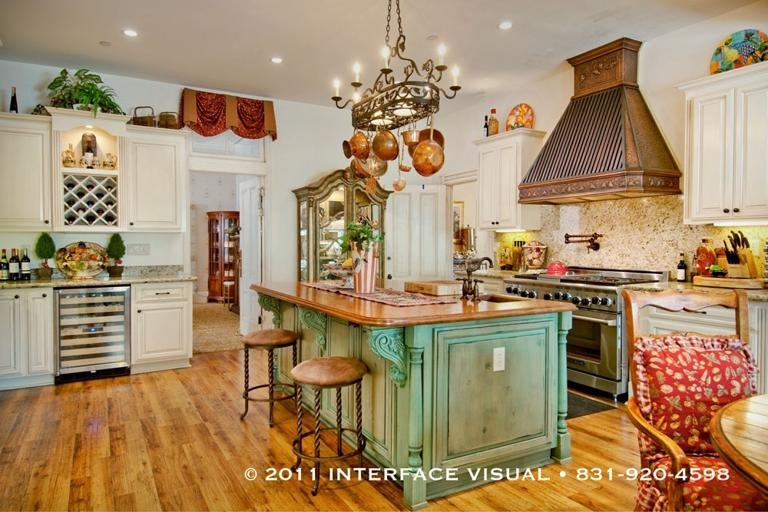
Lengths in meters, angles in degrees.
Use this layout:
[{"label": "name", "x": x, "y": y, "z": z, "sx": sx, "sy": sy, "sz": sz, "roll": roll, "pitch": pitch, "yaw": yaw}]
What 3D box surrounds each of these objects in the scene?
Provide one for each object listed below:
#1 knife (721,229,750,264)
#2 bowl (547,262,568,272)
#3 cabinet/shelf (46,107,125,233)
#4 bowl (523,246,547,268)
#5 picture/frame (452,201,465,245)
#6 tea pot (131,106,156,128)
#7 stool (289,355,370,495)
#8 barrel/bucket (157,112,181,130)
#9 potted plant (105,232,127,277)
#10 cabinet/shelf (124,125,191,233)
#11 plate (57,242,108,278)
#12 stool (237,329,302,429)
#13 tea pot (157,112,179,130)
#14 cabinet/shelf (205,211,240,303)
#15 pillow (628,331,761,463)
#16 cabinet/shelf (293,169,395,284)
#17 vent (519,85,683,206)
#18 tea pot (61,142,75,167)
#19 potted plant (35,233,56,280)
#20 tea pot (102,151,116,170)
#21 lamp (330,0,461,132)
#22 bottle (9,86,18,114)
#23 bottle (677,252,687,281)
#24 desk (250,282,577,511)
[{"label": "knife", "x": 3.568, "y": -0.091, "z": 5.421, "sx": 0.100, "sy": 0.357, "sz": 0.200, "roll": 19, "pitch": -13, "yaw": -40}, {"label": "bowl", "x": 2.125, "y": 0.135, "z": 6.516, "sx": 0.152, "sy": 0.101, "sz": 0.148, "roll": -1, "pitch": 3, "yaw": 0}, {"label": "cabinet/shelf", "x": -3.550, "y": -1.245, "z": 6.450, "sx": 0.897, "sy": 1.491, "sz": 0.268, "roll": 3, "pitch": -24, "yaw": -19}, {"label": "bowl", "x": 1.994, "y": 0.012, "z": 7.087, "sx": 0.302, "sy": 0.271, "sz": 0.293, "roll": 0, "pitch": -4, "yaw": 0}, {"label": "picture/frame", "x": 1.469, "y": -0.721, "z": 10.505, "sx": 0.192, "sy": 0.710, "sz": 0.276, "roll": 2, "pitch": 13, "yaw": 10}, {"label": "tea pot", "x": -3.013, "y": -1.750, "z": 6.668, "sx": 0.289, "sy": 0.267, "sz": 0.597, "roll": -5, "pitch": 13, "yaw": -22}, {"label": "stool", "x": -0.461, "y": 1.376, "z": 4.396, "sx": 0.714, "sy": 0.861, "sz": 0.739, "roll": 0, "pitch": -1, "yaw": 11}, {"label": "barrel/bucket", "x": -2.748, "y": -1.707, "z": 6.847, "sx": 0.285, "sy": 0.270, "sz": 0.278, "roll": 1, "pitch": 9, "yaw": 0}, {"label": "potted plant", "x": -3.334, "y": -0.047, "z": 6.625, "sx": 0.244, "sy": 0.568, "sz": 0.244, "roll": -2, "pitch": -5, "yaw": 20}, {"label": "cabinet/shelf", "x": -2.805, "y": -0.939, "z": 6.551, "sx": 0.734, "sy": 1.283, "sz": 0.283, "roll": -4, "pitch": 13, "yaw": -17}, {"label": "plate", "x": -3.691, "y": 0.026, "z": 6.506, "sx": 0.164, "sy": 0.578, "sz": 0.600, "roll": 5, "pitch": 17, "yaw": 23}, {"label": "stool", "x": -1.116, "y": 1.165, "z": 5.250, "sx": 0.660, "sy": 0.767, "sz": 0.624, "roll": -1, "pitch": -1, "yaw": -15}, {"label": "tea pot", "x": -2.748, "y": -1.720, "z": 6.854, "sx": 0.280, "sy": 0.275, "sz": 0.273, "roll": 1, "pitch": 9, "yaw": 0}, {"label": "cabinet/shelf", "x": -3.388, "y": 0.066, "z": 11.345, "sx": 0.496, "sy": 2.047, "sz": 1.154, "roll": -9, "pitch": 16, "yaw": -36}, {"label": "pillow", "x": 1.943, "y": 0.893, "z": 3.350, "sx": 0.859, "sy": 0.771, "sz": 0.309, "roll": 3, "pitch": -15, "yaw": 4}, {"label": "cabinet/shelf", "x": -0.527, "y": -0.344, "z": 8.007, "sx": 1.244, "sy": 2.258, "sz": 0.565, "roll": 2, "pitch": 38, "yaw": -3}, {"label": "vent", "x": 2.604, "y": -1.449, "z": 6.425, "sx": 1.024, "sy": 1.340, "sz": 1.926, "roll": -5, "pitch": 9, "yaw": -21}, {"label": "tea pot", "x": -3.703, "y": -1.180, "z": 6.253, "sx": 0.139, "sy": 0.265, "sz": 0.125, "roll": -7, "pitch": 14, "yaw": -29}, {"label": "potted plant", "x": -4.000, "y": -0.006, "z": 6.278, "sx": 0.235, "sy": 0.523, "sz": 0.282, "roll": -6, "pitch": 14, "yaw": -25}, {"label": "tea pot", "x": -3.276, "y": -1.137, "z": 6.391, "sx": 0.200, "sy": 0.204, "sz": 0.177, "roll": 5, "pitch": -5, "yaw": -45}, {"label": "lamp", "x": 0.113, "y": -1.878, "z": 5.289, "sx": 0.988, "sy": 1.267, "sz": 2.755, "roll": 1, "pitch": 12, "yaw": 2}, {"label": "bottle", "x": -4.300, "y": -1.820, "z": 6.174, "sx": 0.102, "sy": 0.322, "sz": 0.478, "roll": -8, "pitch": 15, "yaw": -32}, {"label": "bottle", "x": 3.228, "y": 0.115, "z": 5.768, "sx": 0.118, "sy": 0.294, "sz": 0.169, "roll": 7, "pitch": 14, "yaw": 29}, {"label": "desk", "x": 0.273, "y": 1.046, "z": 4.538, "sx": 2.448, "sy": 1.427, "sz": 1.342, "roll": 7, "pitch": 14, "yaw": 27}]
